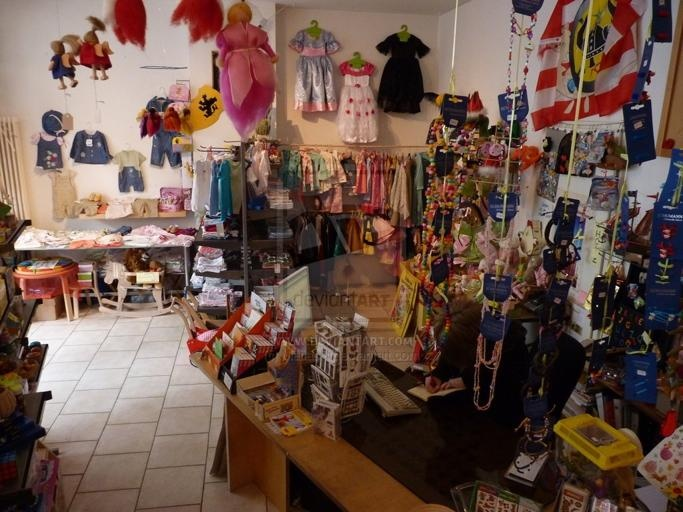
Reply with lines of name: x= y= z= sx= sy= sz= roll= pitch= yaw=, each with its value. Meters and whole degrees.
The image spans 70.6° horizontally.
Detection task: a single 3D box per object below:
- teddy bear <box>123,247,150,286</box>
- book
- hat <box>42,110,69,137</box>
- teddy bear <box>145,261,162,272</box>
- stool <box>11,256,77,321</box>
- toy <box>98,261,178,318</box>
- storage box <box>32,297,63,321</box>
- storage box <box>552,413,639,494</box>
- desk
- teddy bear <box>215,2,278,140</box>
teddy bear: x=-2.588 y=0.043 z=6.103 sx=0.289 sy=0.279 sz=0.234 roll=-5 pitch=12 yaw=-4
book: x=-0.166 y=0.546 z=2.695 sx=0.541 sy=0.699 sz=0.541 roll=-11 pitch=21 yaw=-40
hat: x=-3.649 y=-1.712 z=6.205 sx=0.261 sy=0.310 sz=0.100 roll=-30 pitch=17 yaw=-2
teddy bear: x=-2.362 y=0.127 z=6.137 sx=0.122 sy=0.060 sz=0.171 roll=6 pitch=38 yaw=-7
stool: x=-3.301 y=0.355 z=5.392 sx=0.644 sy=0.573 sz=0.658 roll=4 pitch=11 yaw=12
toy: x=-2.622 y=0.417 z=6.166 sx=0.610 sy=0.451 sz=0.376 roll=1 pitch=14 yaw=-4
storage box: x=-3.455 y=0.621 z=5.681 sx=0.191 sy=0.248 sz=0.362 roll=0 pitch=10 yaw=-6
storage box: x=0.934 y=0.724 z=1.877 sx=0.229 sy=0.236 sz=0.328 roll=-5 pitch=17 yaw=-17
desk: x=0.119 y=0.902 z=2.609 sx=0.559 sy=0.516 sz=1.022 roll=-22 pitch=36 yaw=-38
teddy bear: x=-0.457 y=-0.926 z=2.381 sx=0.290 sy=0.659 sz=0.215 roll=-6 pitch=13 yaw=-11
